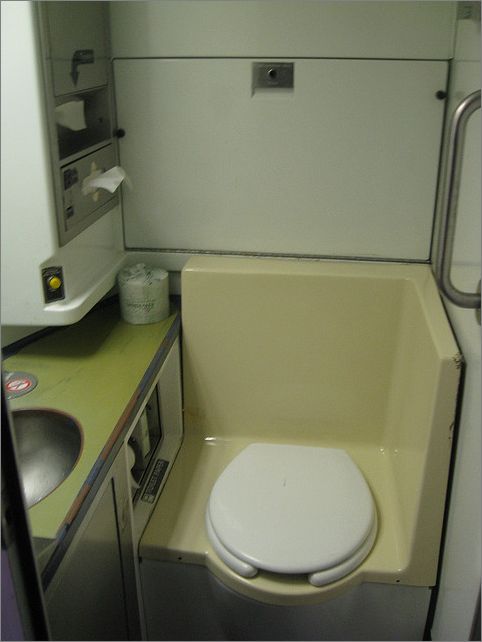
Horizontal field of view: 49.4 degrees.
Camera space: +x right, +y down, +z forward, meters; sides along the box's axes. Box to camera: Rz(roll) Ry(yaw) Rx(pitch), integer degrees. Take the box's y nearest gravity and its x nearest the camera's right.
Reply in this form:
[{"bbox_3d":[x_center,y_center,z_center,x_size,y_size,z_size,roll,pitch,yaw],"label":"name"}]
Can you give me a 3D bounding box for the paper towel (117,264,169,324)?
[{"bbox_3d":[-0.258,-0.067,1.463,0.125,0.143,0.145,1,27,2],"label":"paper towel"}]
